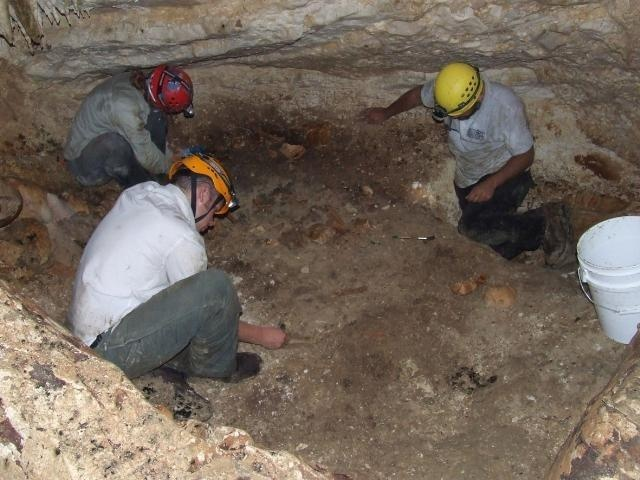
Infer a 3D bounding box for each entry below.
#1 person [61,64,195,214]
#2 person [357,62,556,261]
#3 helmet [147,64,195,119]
[{"bbox_3d":[-1.626,-0.983,5.554,0.892,1.131,0.823,10,39,-18],"label":"person"},{"bbox_3d":[1.281,-0.687,5.889,1.411,2.183,0.907,25,58,36],"label":"person"},{"bbox_3d":[-1.225,-1.212,5.425,0.349,0.416,0.269,0,52,3],"label":"helmet"}]
